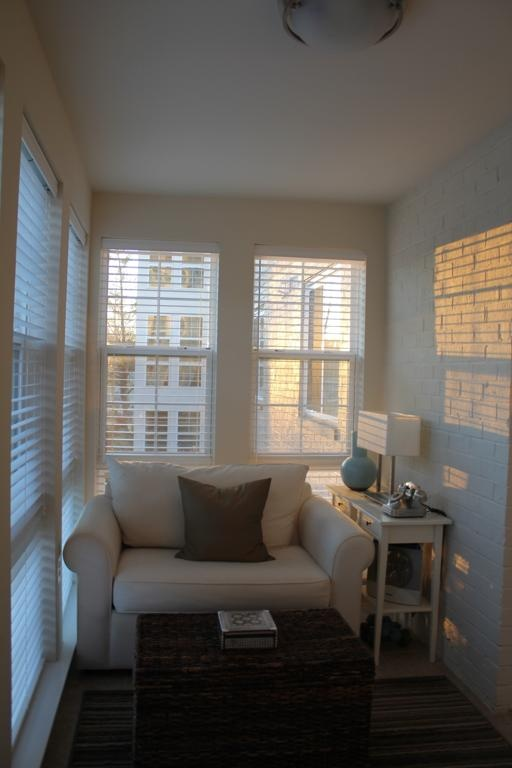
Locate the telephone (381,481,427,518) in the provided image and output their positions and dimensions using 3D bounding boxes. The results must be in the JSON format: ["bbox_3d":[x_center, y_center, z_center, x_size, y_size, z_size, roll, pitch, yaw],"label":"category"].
[{"bbox_3d":[0.704,0.539,2.729,0.149,0.151,0.159,0,-2,-8],"label":"telephone"}]

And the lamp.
[{"bbox_3d":[0.684,0.389,2.980,0.153,0.493,0.468,0,3,-5],"label":"lamp"}]

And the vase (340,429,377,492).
[{"bbox_3d":[0.583,0.440,3.245,0.180,0.321,0.189,2,-4,-17],"label":"vase"}]
